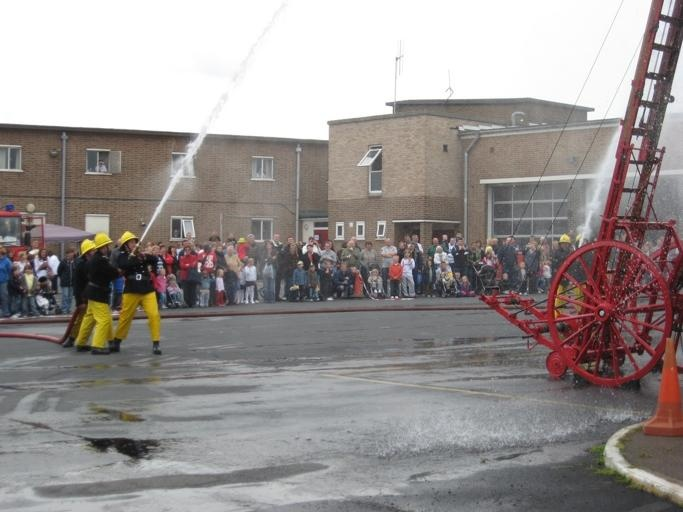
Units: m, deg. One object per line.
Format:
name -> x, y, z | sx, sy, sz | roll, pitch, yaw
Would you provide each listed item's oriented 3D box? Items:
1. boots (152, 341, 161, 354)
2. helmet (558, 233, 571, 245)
boots -> -3.062, 1.509, 16.518 | 0.142, 0.203, 0.314 | -1, 4, -10
helmet -> 6.666, -0.583, 29.718 | 0.442, 0.327, 0.560 | -2, -4, 19
